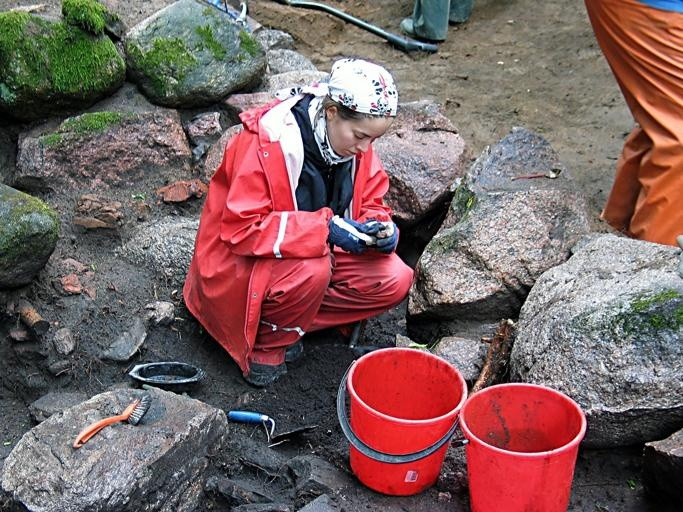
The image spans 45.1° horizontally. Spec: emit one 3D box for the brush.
[{"bbox_3d":[-1.073,0.762,3.935,0.516,0.115,0.124,-31,41,-33],"label":"brush"}]

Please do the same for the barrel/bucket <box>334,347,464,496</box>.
[{"bbox_3d":[0.270,0.755,3.882,0.612,0.517,0.635,2,39,-2],"label":"barrel/bucket"}]

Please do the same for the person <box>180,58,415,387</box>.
[{"bbox_3d":[-0.201,-0.314,4.754,1.178,1.894,1.087,7,23,15],"label":"person"}]

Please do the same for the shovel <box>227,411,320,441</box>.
[{"bbox_3d":[-0.401,0.877,4.322,0.347,0.079,0.201,14,14,19],"label":"shovel"}]
